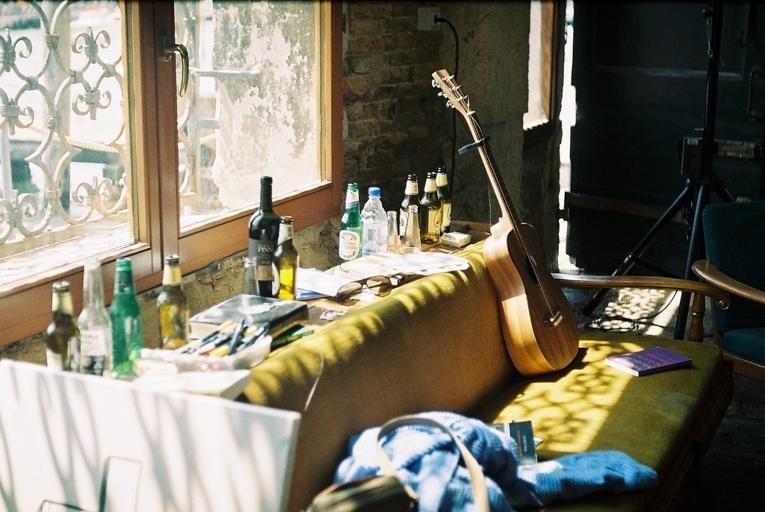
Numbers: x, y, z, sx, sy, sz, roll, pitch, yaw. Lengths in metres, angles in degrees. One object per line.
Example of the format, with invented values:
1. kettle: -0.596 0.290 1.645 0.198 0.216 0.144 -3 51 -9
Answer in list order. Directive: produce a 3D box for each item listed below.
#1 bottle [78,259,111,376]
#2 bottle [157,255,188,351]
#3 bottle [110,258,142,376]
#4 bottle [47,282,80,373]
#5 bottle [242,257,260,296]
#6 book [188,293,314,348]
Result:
1. bottle: -0.800 0.168 1.747 0.088 0.317 0.097 -6 17 -22
2. bottle: -0.639 0.139 1.924 0.081 0.283 0.170 -5 17 -18
3. bottle: -0.741 0.172 1.808 0.076 0.315 0.157 -4 17 -16
4. bottle: -0.882 0.189 1.737 0.089 0.244 0.112 -7 18 -23
5. bottle: -0.454 0.088 2.187 0.060 0.144 0.059 -5 -21 -2
6. book: -0.417 0.178 2.006 0.185 0.046 0.191 8 17 30
